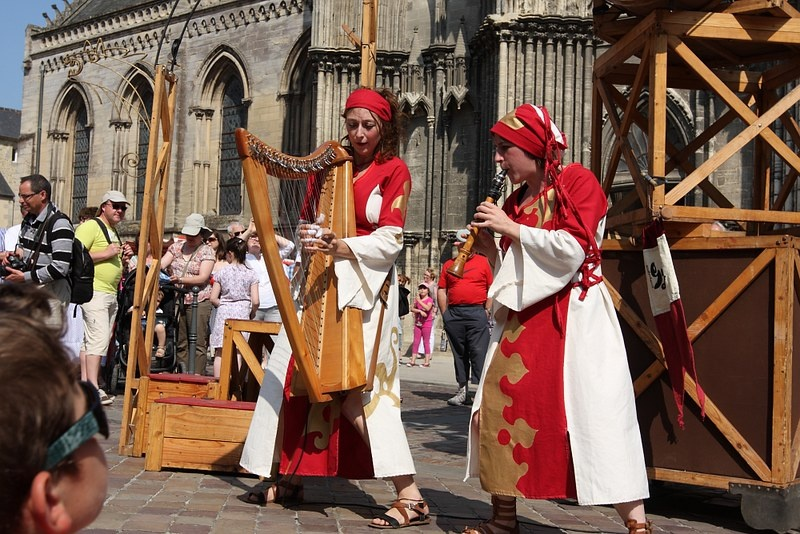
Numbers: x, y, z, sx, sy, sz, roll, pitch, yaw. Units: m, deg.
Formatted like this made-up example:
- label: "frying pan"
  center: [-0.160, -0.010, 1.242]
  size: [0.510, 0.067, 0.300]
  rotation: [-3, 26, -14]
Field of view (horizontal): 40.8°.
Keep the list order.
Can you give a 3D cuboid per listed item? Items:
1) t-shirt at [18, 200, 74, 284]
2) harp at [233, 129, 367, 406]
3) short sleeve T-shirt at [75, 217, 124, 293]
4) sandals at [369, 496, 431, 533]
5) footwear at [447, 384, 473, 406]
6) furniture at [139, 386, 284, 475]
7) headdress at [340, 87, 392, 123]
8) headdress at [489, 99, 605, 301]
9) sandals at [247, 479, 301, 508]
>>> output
- label: "t-shirt"
  center: [-3.568, -0.234, 10.795]
  size: [0.493, 0.794, 0.915]
  rotation: [4, 8, -42]
- label: "harp"
  center: [-0.704, 0.031, 7.813]
  size: [0.501, 1.924, 1.075]
  rotation: [1, -2, 44]
- label: "short sleeve T-shirt"
  center: [-3.367, -0.093, 11.986]
  size: [0.551, 0.829, 0.845]
  rotation: [-1, -4, 3]
- label: "sandals"
  center: [-0.003, 1.870, 8.114]
  size: [0.426, 0.163, 0.202]
  rotation: [2, -6, -17]
- label: "footwear"
  center: [0.771, 1.695, 13.953]
  size: [0.173, 0.263, 0.481]
  rotation: [-4, -9, 39]
- label: "furniture"
  center: [-1.464, 1.497, 9.419]
  size: [1.325, 0.596, 0.785]
  rotation: [-2, -7, 35]
- label: "headdress"
  center: [-0.242, -1.189, 8.304]
  size: [0.289, 0.177, 0.362]
  rotation: [13, 40, 45]
- label: "headdress"
  center: [1.098, -0.529, 7.977]
  size: [0.598, 1.299, 0.356]
  rotation: [-12, 22, 5]
- label: "sandals"
  center: [-0.988, 1.785, 8.441]
  size: [0.369, 0.128, 0.185]
  rotation: [4, -7, -8]
